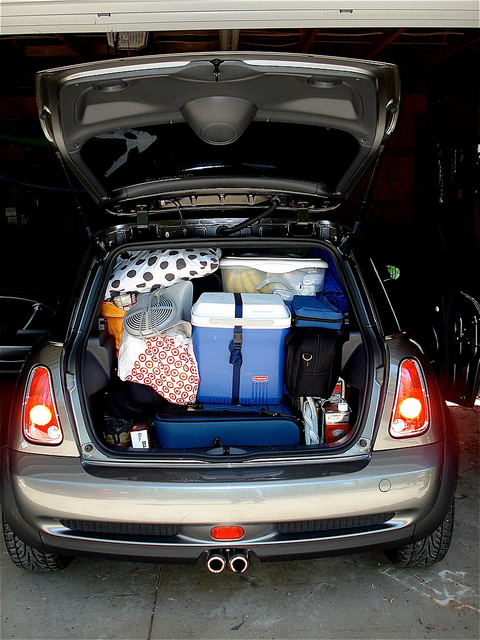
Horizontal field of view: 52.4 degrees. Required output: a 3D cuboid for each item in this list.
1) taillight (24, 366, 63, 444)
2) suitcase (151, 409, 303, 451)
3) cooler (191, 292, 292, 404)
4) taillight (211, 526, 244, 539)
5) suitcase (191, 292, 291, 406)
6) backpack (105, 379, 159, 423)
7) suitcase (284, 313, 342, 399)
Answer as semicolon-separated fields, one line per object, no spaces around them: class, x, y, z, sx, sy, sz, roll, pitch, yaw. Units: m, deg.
taillight;-0.625;0.264;1.501;0.108;0.145;0.227;-13;32;-22
suitcase;-0.030;0.413;1.883;0.541;0.149;0.289;0;-4;-6
cooler;-0.003;0.114;1.987;0.410;0.402;0.237;1;14;-2
taillight;-0.036;0.609;1.399;0.077;0.047;0.013;2;23;-3
suitcase;-0.005;0.099;2.065;0.434;0.408;0.419;1;7;0
backpack;-0.418;0.298;1.956;0.218;0.203;0.129;-3;16;-8
suitcase;0.287;0.142;1.900;0.234;0.249;0.229;4;29;7
